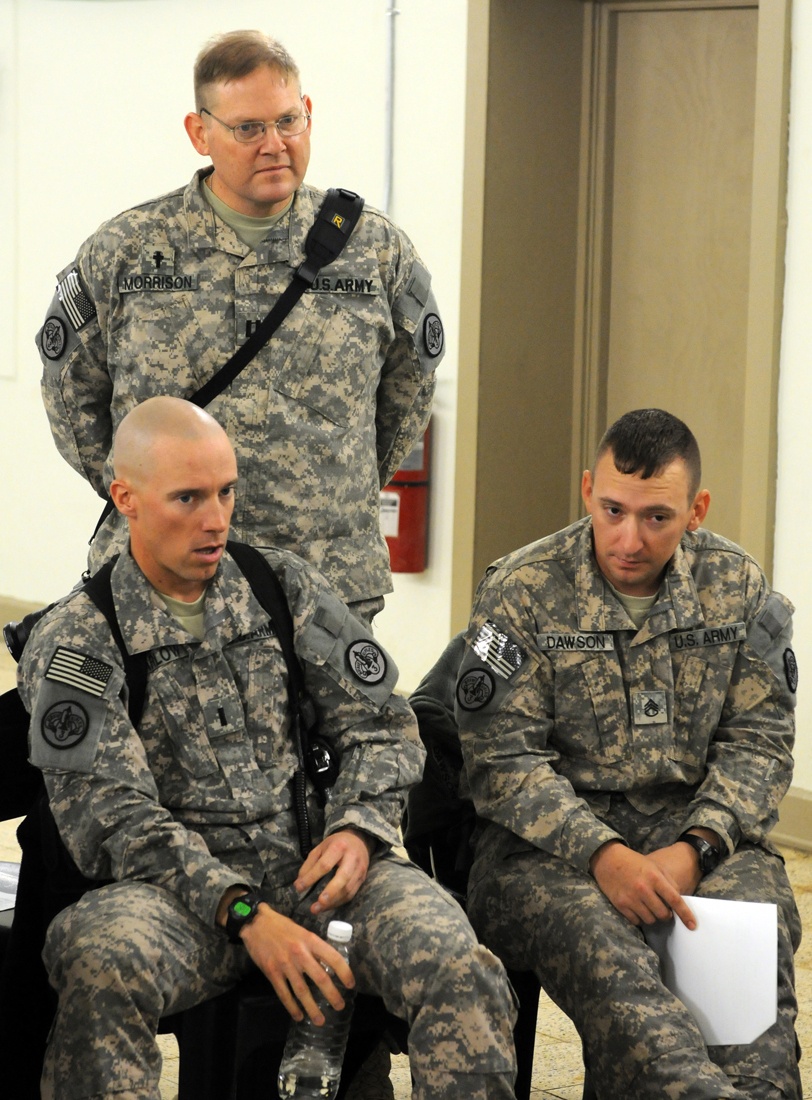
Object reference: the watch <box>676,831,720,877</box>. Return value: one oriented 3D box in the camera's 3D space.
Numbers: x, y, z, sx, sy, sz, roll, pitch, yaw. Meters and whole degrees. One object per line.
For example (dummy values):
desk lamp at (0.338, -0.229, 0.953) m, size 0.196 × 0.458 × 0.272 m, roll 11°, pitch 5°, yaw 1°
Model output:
watch at (0.484, 0.503, 1.741) m, size 0.058 × 0.062 × 0.042 m, roll 27°, pitch 47°, yaw 34°

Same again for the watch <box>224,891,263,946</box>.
watch at (-0.205, 0.477, 1.373) m, size 0.045 × 0.063 × 0.057 m, roll 26°, pitch -27°, yaw 12°

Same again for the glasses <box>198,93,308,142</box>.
glasses at (-0.288, -0.817, 2.018) m, size 0.198 × 0.083 × 0.084 m, roll -4°, pitch 11°, yaw -8°
